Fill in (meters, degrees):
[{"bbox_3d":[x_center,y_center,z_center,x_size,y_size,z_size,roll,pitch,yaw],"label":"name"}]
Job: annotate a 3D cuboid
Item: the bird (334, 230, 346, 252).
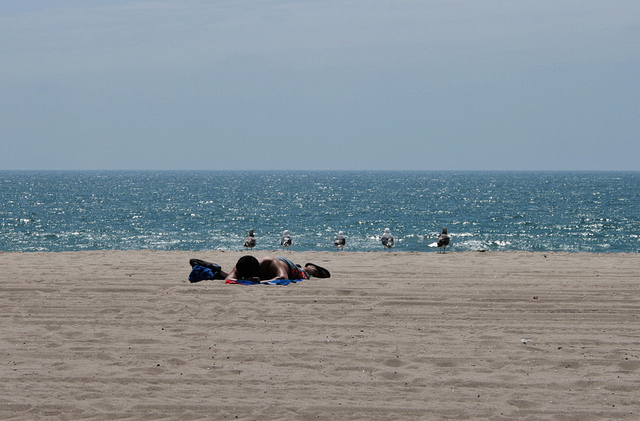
[{"bbox_3d":[1.446,1.966,86.880,0.547,0.749,1.263,1,16,2],"label":"bird"}]
